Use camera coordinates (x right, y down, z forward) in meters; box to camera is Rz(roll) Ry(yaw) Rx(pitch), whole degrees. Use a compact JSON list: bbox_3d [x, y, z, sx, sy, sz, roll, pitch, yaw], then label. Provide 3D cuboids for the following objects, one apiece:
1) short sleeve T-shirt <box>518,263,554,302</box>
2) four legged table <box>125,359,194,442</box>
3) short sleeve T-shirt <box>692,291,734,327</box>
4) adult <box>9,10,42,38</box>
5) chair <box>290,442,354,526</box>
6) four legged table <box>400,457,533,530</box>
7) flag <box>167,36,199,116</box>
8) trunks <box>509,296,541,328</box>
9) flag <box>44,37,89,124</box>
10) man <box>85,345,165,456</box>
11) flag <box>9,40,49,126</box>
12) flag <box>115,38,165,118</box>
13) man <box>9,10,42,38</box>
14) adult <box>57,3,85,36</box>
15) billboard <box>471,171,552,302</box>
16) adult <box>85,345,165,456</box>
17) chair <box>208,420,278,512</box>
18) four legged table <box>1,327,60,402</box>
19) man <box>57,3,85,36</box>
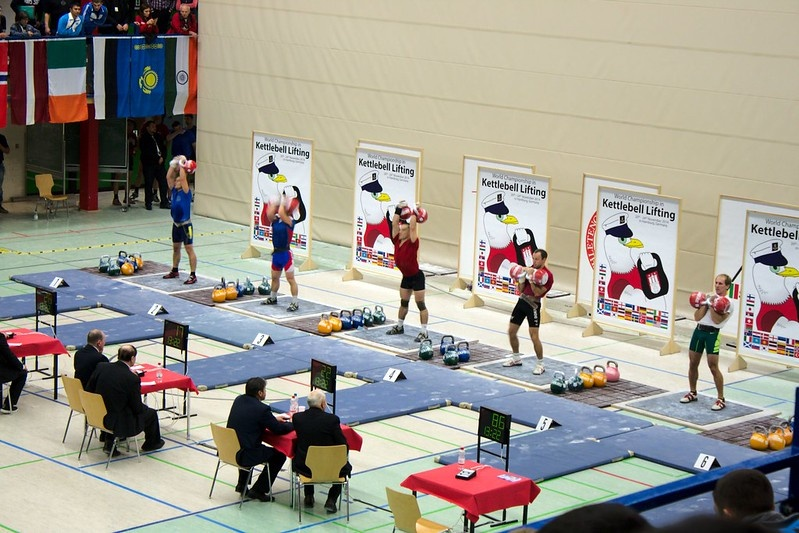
[{"bbox_3d":[2.475,0.297,17.959,0.555,0.612,0.404,3,5,6],"label":"short sleeve T-shirt"},{"bbox_3d":[-3.734,1.999,15.867,1.033,0.664,1.243,-5,12,-41],"label":"four legged table"},{"bbox_3d":[5.238,0.666,16.704,0.657,0.560,0.346,6,6,32],"label":"short sleeve T-shirt"},{"bbox_3d":[-9.865,-6.269,26.040,0.761,0.789,1.588,1,6,-21],"label":"adult"},{"bbox_3d":[-1.101,2.930,13.826,0.842,1.135,0.794,2,5,-5],"label":"chair"},{"bbox_3d":[1.048,2.872,12.970,1.060,0.560,1.044,-4,11,-39],"label":"four legged table"},{"bbox_3d":[-6.226,-5.509,28.629,0.298,2.206,0.909,6,6,40],"label":"flag"},{"bbox_3d":[2.338,0.832,18.395,0.638,0.628,0.368,13,-1,33],"label":"trunks"},{"bbox_3d":[-8.897,-4.971,26.414,0.305,2.235,1.232,7,6,44],"label":"flag"},{"bbox_3d":[-4.238,2.107,15.157,0.959,1.850,1.149,15,19,23],"label":"man"},{"bbox_3d":[-9.645,-4.768,25.592,0.977,2.108,0.358,0,5,-34],"label":"flag"},{"bbox_3d":[-7.315,-5.307,27.607,2.015,2.948,0.219,-5,10,-43],"label":"flag"},{"bbox_3d":[-9.851,-6.265,26.002,0.758,0.789,1.513,1,6,-20],"label":"man"},{"bbox_3d":[-8.863,-6.587,26.584,0.700,0.984,0.759,1,5,-20],"label":"adult"},{"bbox_3d":[2.334,-0.655,20.660,2.213,3.307,0.133,13,17,39],"label":"billboard"},{"bbox_3d":[-4.238,2.107,15.157,0.959,1.850,1.149,15,19,23],"label":"adult"},{"bbox_3d":[-2.352,2.755,14.278,0.761,1.123,0.961,2,5,-11],"label":"chair"},{"bbox_3d":[-6.055,1.600,16.778,1.086,0.885,1.082,5,4,32],"label":"four legged table"},{"bbox_3d":[-8.868,-6.584,26.583,0.695,0.989,0.810,1,5,-18],"label":"man"}]
